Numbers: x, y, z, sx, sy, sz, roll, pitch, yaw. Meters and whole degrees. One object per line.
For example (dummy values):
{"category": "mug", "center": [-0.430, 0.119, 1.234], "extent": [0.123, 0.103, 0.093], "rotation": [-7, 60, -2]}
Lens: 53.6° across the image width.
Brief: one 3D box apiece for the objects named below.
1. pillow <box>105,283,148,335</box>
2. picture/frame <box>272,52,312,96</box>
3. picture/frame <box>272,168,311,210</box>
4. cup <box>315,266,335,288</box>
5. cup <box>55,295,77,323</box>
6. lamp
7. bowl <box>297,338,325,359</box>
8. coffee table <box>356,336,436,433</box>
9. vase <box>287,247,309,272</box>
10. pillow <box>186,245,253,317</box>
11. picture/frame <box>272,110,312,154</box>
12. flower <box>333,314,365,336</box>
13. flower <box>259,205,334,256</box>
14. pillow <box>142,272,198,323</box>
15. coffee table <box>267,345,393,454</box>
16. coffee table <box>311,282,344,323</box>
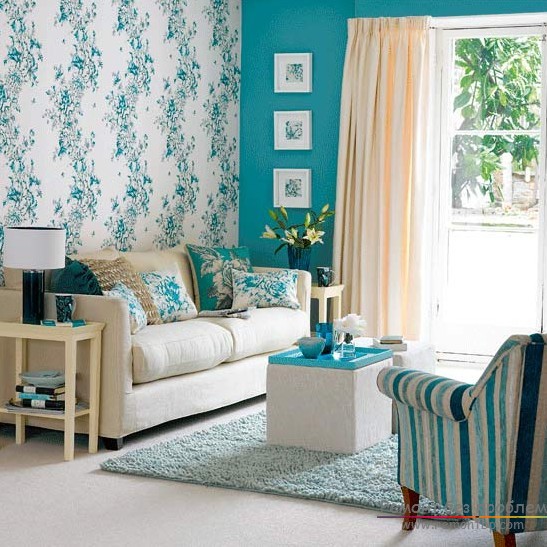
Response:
{"category": "pillow", "center": [-0.805, 0.186, 3.067], "extent": [0.072, 0.251, 0.253], "rotation": [-20, -11, 9]}
{"category": "picture/frame", "center": [0.195, -1.934, 5.248], "extent": [0.380, 0.407, 0.043], "rotation": [2, 7, 17]}
{"category": "picture/frame", "center": [0.190, -0.829, 5.306], "extent": [0.420, 0.462, 0.088], "rotation": [0, -1, 17]}
{"category": "cup", "center": [0.443, 0.034, 4.748], "extent": [0.167, 0.182, 0.110], "rotation": [1, 3, 26]}
{"category": "cup", "center": [-1.019, 0.176, 2.646], "extent": [0.129, 0.147, 0.085], "rotation": [-2, -3, 32]}
{"category": "lamp", "center": [-1.192, 0.015, 2.675], "extent": [0.318, 0.475, 0.230], "rotation": [-1, -1, 40]}
{"category": "bowl", "center": [0.184, 0.370, 2.686], "extent": [0.099, 0.088, 0.114], "rotation": [-2, 0, 7]}
{"category": "coffee table", "center": [0.724, 0.602, 3.146], "extent": [0.451, 0.531, 0.463], "rotation": [-1, -1, 39]}
{"category": "vase", "center": [0.218, -0.109, 4.790], "extent": [0.179, 0.230, 0.197], "rotation": [0, -6, 3]}
{"category": "pillow", "center": [-0.371, 0.043, 4.292], "extent": [0.567, 0.512, 0.244], "rotation": [-6, 16, -31]}
{"category": "picture/frame", "center": [0.195, -1.386, 5.284], "extent": [0.390, 0.430, 0.070], "rotation": [0, -1, 19]}
{"category": "flower", "center": [0.394, 0.271, 2.805], "extent": [0.116, 0.072, 0.121], "rotation": [0, -1, -17]}
{"category": "flower", "center": [0.197, -0.425, 5.046], "extent": [0.722, 0.405, 0.782], "rotation": [-1, -1, 5]}
{"category": "pillow", "center": [-0.696, 0.160, 3.603], "extent": [0.099, 0.328, 0.337], "rotation": [-26, -10, 27]}
{"category": "coffee table", "center": [0.303, 0.559, 2.801], "extent": [0.489, 0.501, 0.513], "rotation": [-1, -1, 31]}
{"category": "coffee table", "center": [0.421, 0.257, 4.796], "extent": [0.299, 0.394, 0.307], "rotation": [1, 2, 34]}
